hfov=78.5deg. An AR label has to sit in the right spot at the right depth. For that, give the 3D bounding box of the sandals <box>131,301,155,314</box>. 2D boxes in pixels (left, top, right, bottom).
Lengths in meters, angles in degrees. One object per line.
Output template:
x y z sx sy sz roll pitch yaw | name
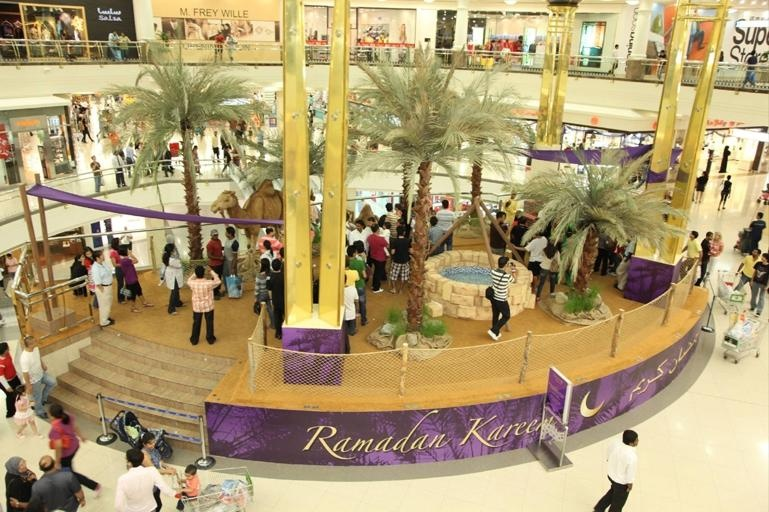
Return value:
-5.360 1.159 10.469 0.402 0.138 0.219 -7 33 -12 | sandals

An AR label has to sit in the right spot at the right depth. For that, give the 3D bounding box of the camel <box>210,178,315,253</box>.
-3.327 -1.072 12.030 0.788 1.902 2.408 20 17 35 | camel
